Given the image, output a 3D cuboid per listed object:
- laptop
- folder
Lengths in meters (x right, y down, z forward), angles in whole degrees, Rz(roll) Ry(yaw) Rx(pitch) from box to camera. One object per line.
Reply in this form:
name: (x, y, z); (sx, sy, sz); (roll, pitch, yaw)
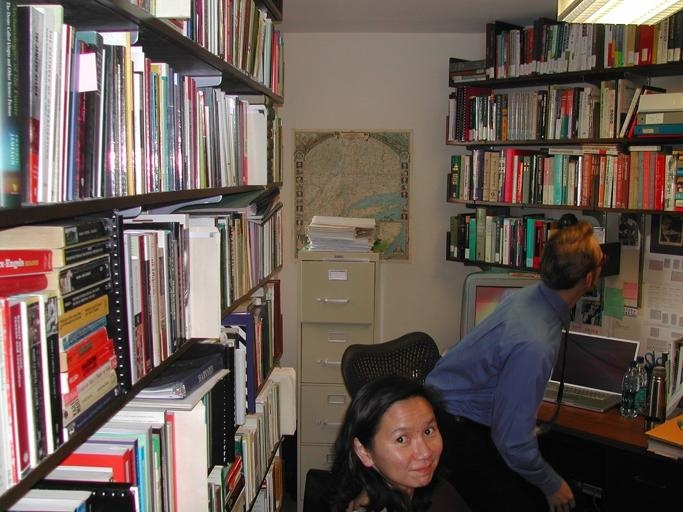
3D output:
laptop: (1.311, 0.569, 3.043); (0.404, 0.296, 0.409); (6, 5, 35)
folder: (-0.455, 0.340, 1.619); (0.204, 0.045, 0.216); (0, 10, 5)
